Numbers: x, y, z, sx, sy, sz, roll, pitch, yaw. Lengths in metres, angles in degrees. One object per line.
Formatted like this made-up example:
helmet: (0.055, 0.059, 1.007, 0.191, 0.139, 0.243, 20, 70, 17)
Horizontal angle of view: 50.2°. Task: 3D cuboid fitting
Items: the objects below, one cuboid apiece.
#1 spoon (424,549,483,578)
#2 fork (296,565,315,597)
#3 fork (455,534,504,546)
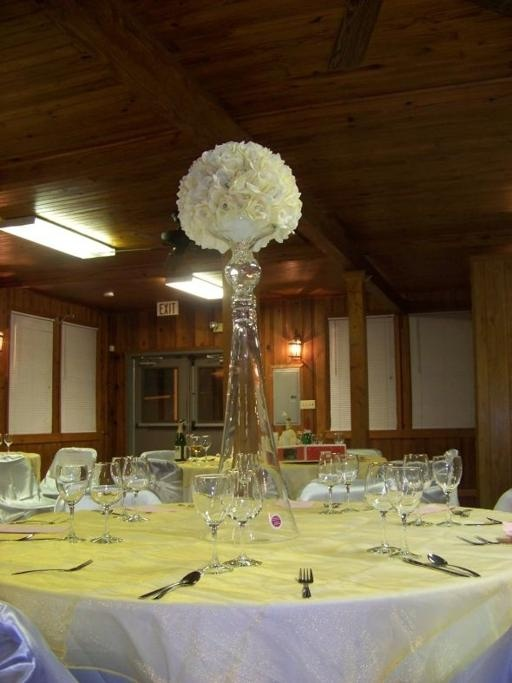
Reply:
spoon: (0.362, 0.411, 1.017, 0.026, 0.021, 0.127, -5, 2, -13)
fork: (0.080, 0.385, 0.872, 0.019, 0.038, 0.011, 0, -37, 2)
fork: (0.532, 0.477, 1.315, 0.173, 0.023, 0.023, 0, -43, -6)
